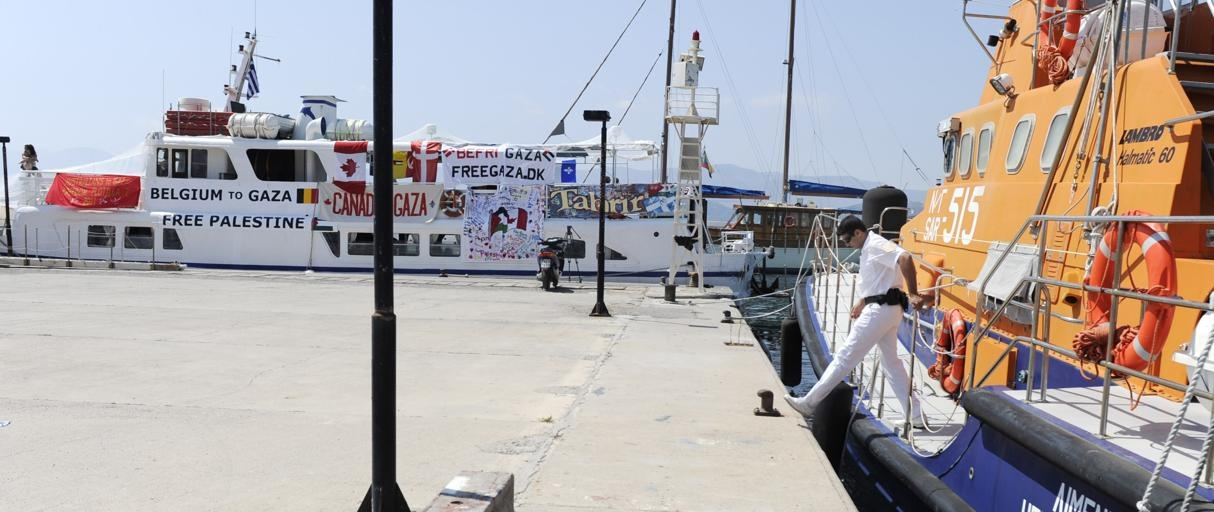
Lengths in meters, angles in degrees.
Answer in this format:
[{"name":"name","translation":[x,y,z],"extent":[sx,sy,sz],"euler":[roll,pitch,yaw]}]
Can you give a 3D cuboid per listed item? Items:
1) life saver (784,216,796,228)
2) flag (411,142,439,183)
[{"name":"life saver","translation":[8.315,-1.565,45.986],"extent":[0.581,0.513,0.231],"euler":[1,11,-3]},{"name":"flag","translation":[-7.132,-3.647,39.161],"extent":[1.310,1.571,0.304],"euler":[1,5,4]}]
